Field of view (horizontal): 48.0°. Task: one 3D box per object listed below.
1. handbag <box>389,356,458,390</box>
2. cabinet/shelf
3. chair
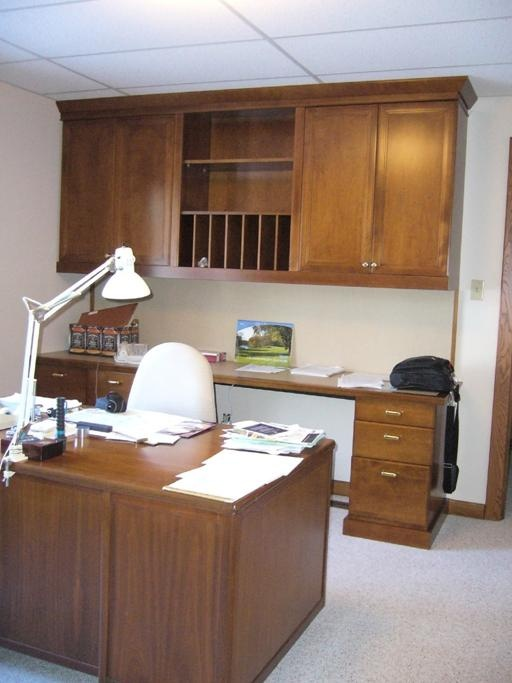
[{"bbox_3d":[0.819,0.166,2.812,0.208,0.102,0.206,-1,3,22],"label":"handbag"},{"bbox_3d":[-0.019,-0.867,3.298,2.335,1.098,0.426,3,3,22],"label":"cabinet/shelf"},{"bbox_3d":[-0.323,0.134,2.603,0.364,0.505,0.351,2,6,8],"label":"chair"}]
